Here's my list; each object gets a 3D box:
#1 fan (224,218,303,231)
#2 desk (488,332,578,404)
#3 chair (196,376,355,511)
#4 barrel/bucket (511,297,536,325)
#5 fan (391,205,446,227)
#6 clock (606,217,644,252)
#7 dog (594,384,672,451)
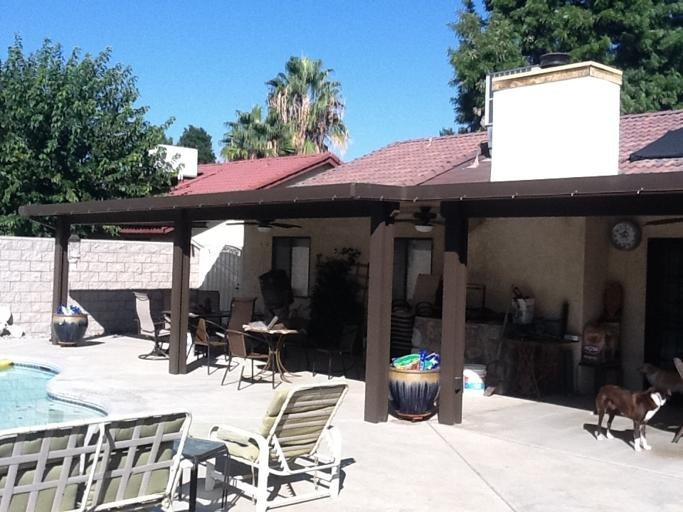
[{"bbox_3d":[-1.997,-0.775,17.007,1.801,0.303,2.003,3,4,26],"label":"fan"},{"bbox_3d":[3.415,2.082,12.474,1.147,0.807,1.149,9,-14,-34],"label":"desk"},{"bbox_3d":[-0.784,2.096,8.072,1.145,1.430,1.516,3,-2,-33],"label":"chair"},{"bbox_3d":[3.438,1.046,12.787,0.406,0.516,0.432,1,-2,0],"label":"barrel/bucket"},{"bbox_3d":[1.536,-0.827,13.529,0.746,0.324,0.755,-1,4,-31],"label":"fan"},{"bbox_3d":[5.342,-0.427,12.689,0.137,0.643,0.576,-2,7,-44],"label":"clock"},{"bbox_3d":[4.063,2.208,9.532,0.540,0.892,1.037,-1,4,-29],"label":"dog"}]
